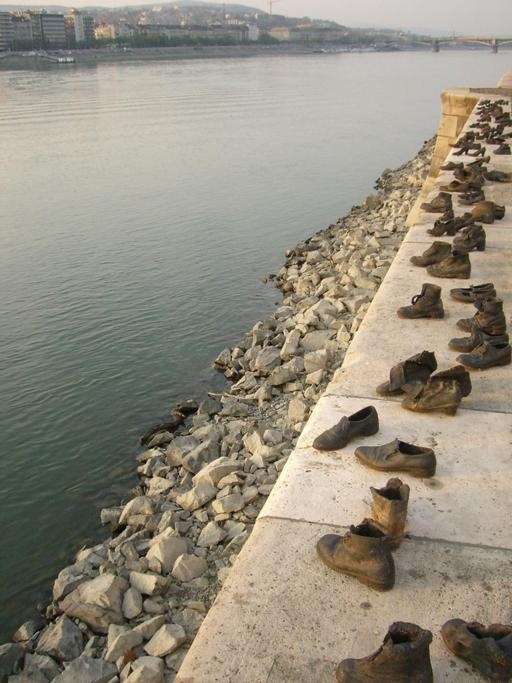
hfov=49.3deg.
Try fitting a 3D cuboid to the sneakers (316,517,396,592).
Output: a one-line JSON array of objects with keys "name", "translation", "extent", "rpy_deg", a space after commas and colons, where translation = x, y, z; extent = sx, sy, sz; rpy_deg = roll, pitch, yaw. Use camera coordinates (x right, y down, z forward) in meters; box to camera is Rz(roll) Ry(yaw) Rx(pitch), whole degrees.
[{"name": "sneakers", "translation": [0.409, 0.864, 2.343], "extent": [0.143, 0.253, 0.360], "rpy_deg": [-21, 28, -37]}]

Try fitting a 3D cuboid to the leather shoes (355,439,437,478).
[{"name": "leather shoes", "translation": [0.774, 0.632, 3.018], "extent": [0.465, 0.177, 0.173], "rpy_deg": [4, 52, 20]}]
